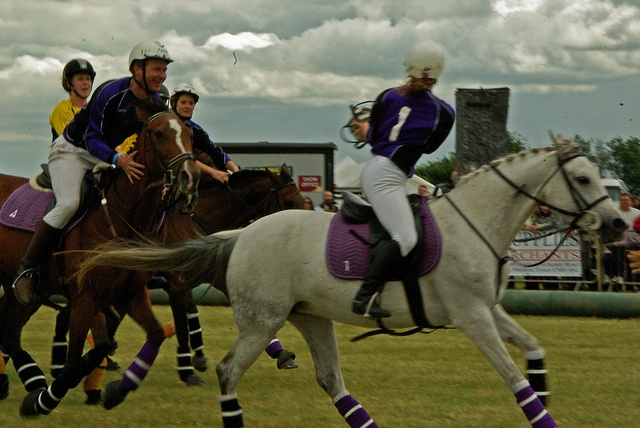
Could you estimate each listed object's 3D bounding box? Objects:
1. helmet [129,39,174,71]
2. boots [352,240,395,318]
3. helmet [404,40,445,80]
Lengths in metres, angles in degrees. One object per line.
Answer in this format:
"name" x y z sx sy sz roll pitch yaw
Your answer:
"helmet" -1.726 -1.631 8.277 0.497 0.225 0.359 2 2 38
"boots" 0.598 0.505 7.633 0.540 1.007 0.318 -3 46 3
"helmet" 1.030 -1.519 7.962 0.416 0.394 0.504 3 3 12
